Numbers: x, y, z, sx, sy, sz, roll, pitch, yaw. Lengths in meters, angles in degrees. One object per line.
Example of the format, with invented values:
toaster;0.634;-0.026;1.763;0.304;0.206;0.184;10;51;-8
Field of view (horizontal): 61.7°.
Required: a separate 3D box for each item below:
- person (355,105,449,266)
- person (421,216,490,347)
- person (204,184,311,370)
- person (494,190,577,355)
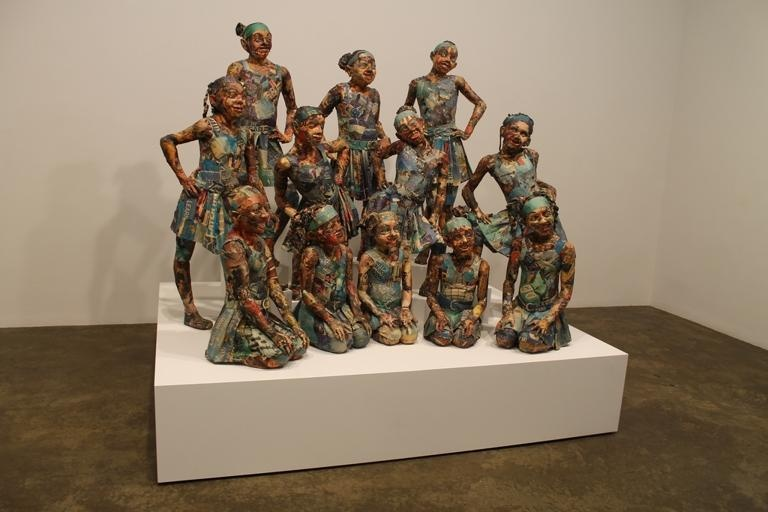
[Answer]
person;0.193;-0.510;5.564;0.819;1.551;0.413;10;32;12
person;0.593;0.158;5.131;0.490;0.938;0.767;4;14;8
person;-0.870;0.141;4.507;0.623;1.200;0.586;8;15;24
person;1.228;0.105;5.034;0.567;1.130;0.802;7;14;17
